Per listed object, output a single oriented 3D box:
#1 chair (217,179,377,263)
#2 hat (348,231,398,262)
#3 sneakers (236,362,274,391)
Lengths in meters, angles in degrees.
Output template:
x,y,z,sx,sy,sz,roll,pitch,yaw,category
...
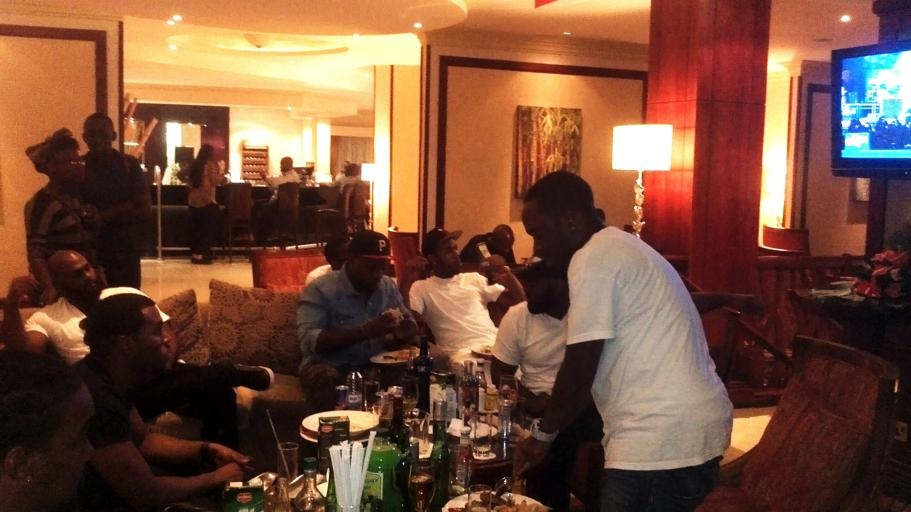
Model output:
x,y,z,sx,sy,sz,roll,pitch,yaw,category
-3.101,-0.723,13.281,3.080,1.423,0.951,-4,18,-29,chair
-0.686,-0.093,5.510,0.302,0.139,0.227,2,-1,31,hat
-1.387,0.821,4.773,0.260,0.142,0.093,8,39,-22,sneakers
